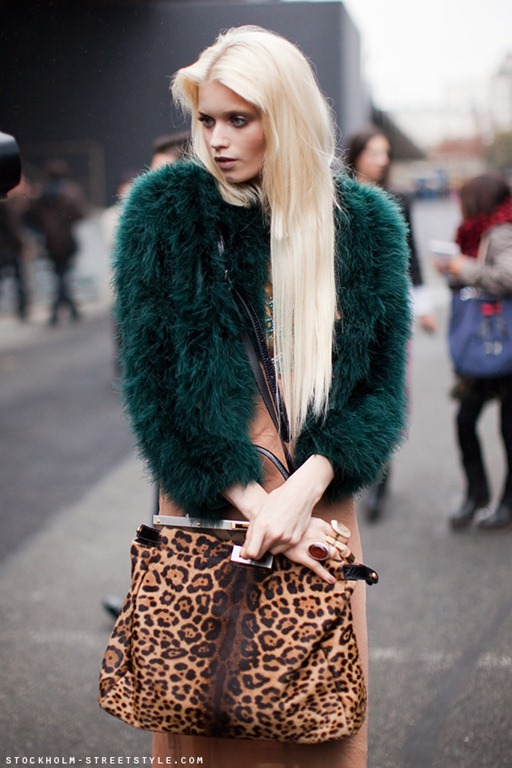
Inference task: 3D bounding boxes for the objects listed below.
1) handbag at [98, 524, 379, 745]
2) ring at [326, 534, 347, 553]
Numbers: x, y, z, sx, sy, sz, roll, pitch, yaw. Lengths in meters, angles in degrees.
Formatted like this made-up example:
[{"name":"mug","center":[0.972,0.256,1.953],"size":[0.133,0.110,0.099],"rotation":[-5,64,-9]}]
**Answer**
[{"name":"handbag","center":[-0.032,0.467,1.510],"size":[0.508,0.352,0.235],"rotation":[3,5,11]},{"name":"ring","center":[0.149,0.310,1.477],"size":[0.032,0.028,0.011],"rotation":[-2,-2,-19]}]
